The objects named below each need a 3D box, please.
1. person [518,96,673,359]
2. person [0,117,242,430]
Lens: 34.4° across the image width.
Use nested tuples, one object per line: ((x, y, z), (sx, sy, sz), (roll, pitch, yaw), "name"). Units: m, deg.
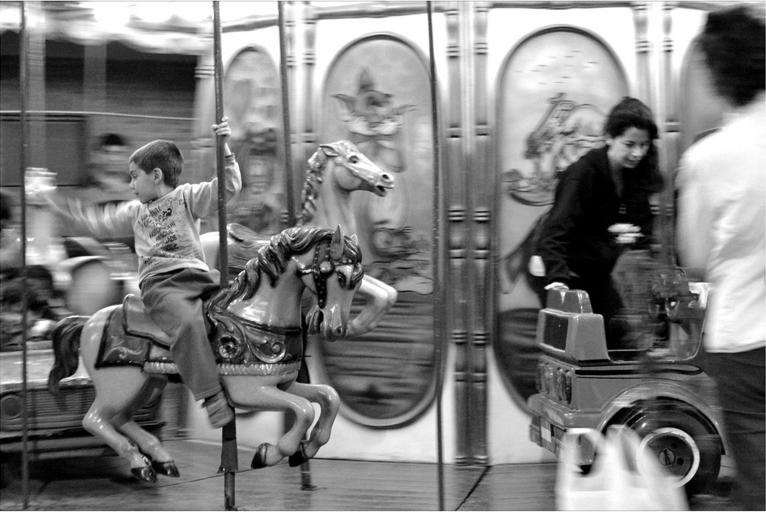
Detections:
((1.141, -0.175, 6.683), (0.648, 1.341, 0.216), (2, 5, 9), "person")
((-1.180, 0.107, 6.380), (0.454, 1.395, 1.172), (-2, 6, -33), "person")
